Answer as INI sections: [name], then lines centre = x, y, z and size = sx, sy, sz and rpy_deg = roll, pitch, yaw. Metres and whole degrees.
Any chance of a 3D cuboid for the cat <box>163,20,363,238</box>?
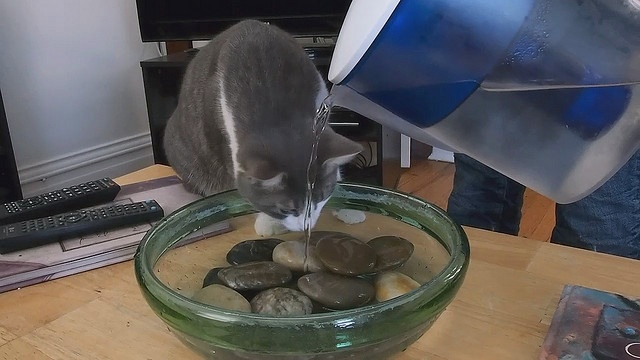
[cat]
centre = -0.149, -0.074, 0.967
size = 0.352, 0.329, 0.484
rpy_deg = -15, 59, -13
